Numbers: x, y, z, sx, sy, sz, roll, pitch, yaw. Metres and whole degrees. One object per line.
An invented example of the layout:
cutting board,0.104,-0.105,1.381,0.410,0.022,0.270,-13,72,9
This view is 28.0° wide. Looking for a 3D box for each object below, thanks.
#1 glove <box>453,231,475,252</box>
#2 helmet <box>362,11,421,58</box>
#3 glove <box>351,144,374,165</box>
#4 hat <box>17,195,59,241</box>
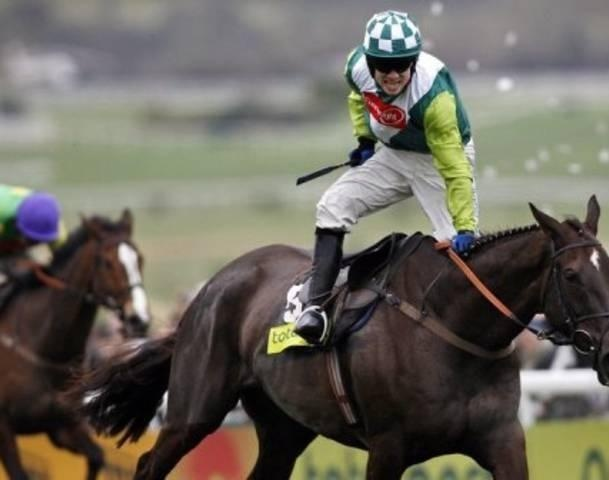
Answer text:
glove,0.845,0.018,6.469,0.137,0.121,0.100,-2,-1,5
helmet,0.465,-1.112,6.574,0.303,0.289,0.196,-2,-1,3
glove,0.328,-0.488,7.019,0.066,0.130,0.189,3,-16,-27
hat,-1.780,-0.165,8.276,0.242,0.248,0.319,18,-40,-7
